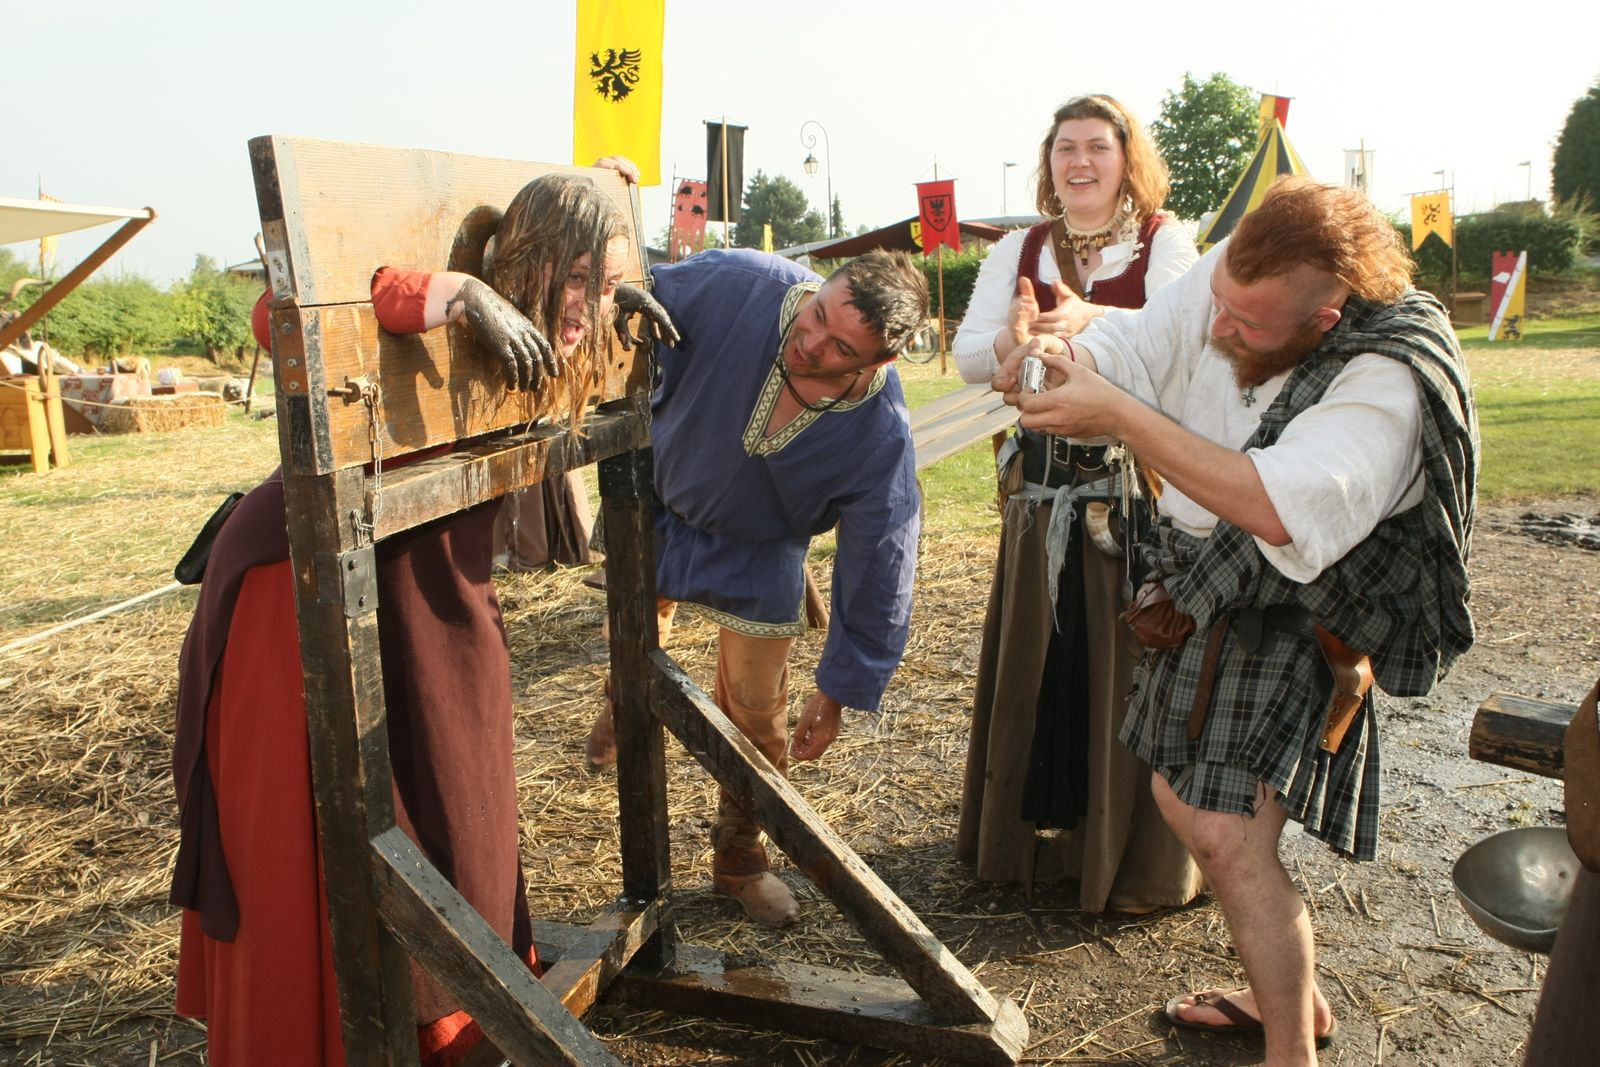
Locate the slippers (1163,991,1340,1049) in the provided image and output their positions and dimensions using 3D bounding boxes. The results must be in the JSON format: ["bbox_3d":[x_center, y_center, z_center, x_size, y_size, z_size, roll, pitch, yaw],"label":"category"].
[{"bbox_3d":[1.398,1.490,3.363,0.472,0.112,0.181,3,7,23],"label":"slippers"}]

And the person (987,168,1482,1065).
[{"bbox_3d":[1.243,0.257,3.013,1.045,2.366,0.578,7,15,30],"label":"person"}]

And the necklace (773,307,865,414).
[{"bbox_3d":[0.030,-0.548,3.460,0.240,0.324,0.078,13,9,-1],"label":"necklace"}]

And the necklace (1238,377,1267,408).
[{"bbox_3d":[1.230,-0.385,2.954,0.076,0.056,0.074,2,17,13],"label":"necklace"}]
